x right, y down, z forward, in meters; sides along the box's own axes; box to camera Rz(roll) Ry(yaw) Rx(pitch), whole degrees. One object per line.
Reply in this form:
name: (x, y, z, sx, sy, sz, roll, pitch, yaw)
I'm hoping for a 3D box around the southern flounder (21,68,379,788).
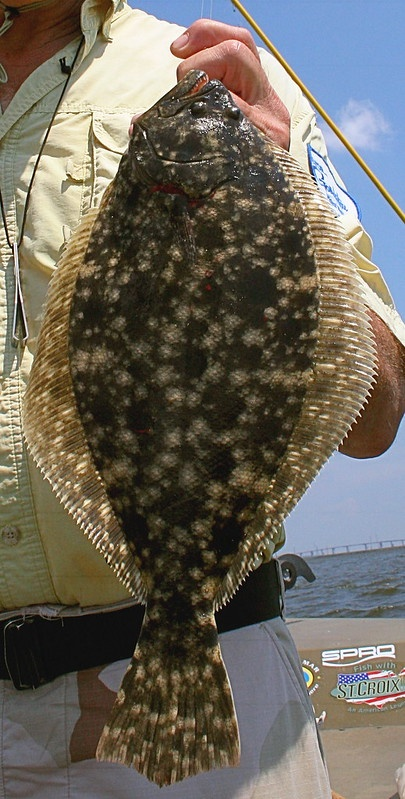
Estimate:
southern flounder: (-0.069, 0.015, 1.678, 0.670, 1.197, 0.716, 18, 28, 19)
